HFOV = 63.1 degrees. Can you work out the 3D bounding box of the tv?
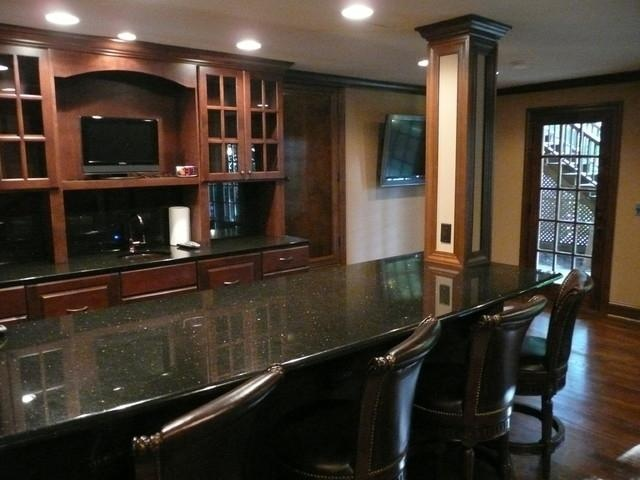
[{"bbox_3d":[-1.585,-0.723,4.059,0.587,0.380,0.075,-6,10,-37],"label":"tv"}]
